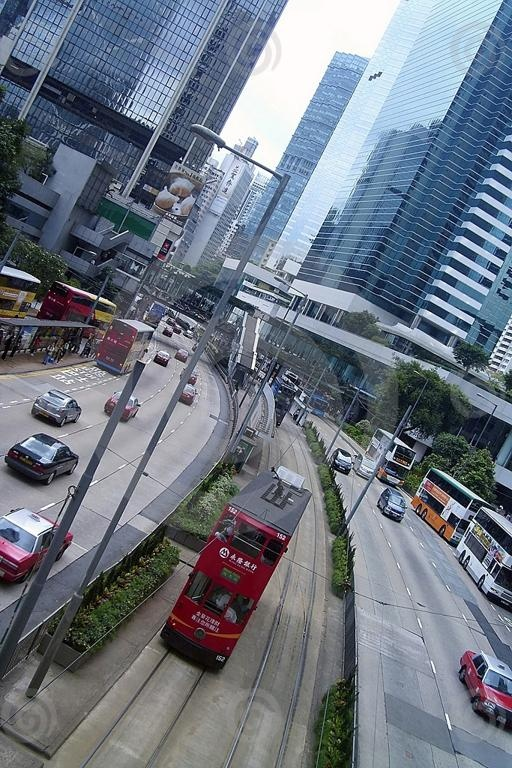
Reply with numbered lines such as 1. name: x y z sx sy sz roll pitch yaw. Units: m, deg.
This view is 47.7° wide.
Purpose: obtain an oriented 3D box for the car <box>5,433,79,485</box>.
1. car: -7.677 2.607 20.944 2.316 1.709 2.098 0 4 -8

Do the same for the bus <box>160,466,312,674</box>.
1. bus: -0.317 5.129 17.380 1.890 3.912 7.255 28 4 9
